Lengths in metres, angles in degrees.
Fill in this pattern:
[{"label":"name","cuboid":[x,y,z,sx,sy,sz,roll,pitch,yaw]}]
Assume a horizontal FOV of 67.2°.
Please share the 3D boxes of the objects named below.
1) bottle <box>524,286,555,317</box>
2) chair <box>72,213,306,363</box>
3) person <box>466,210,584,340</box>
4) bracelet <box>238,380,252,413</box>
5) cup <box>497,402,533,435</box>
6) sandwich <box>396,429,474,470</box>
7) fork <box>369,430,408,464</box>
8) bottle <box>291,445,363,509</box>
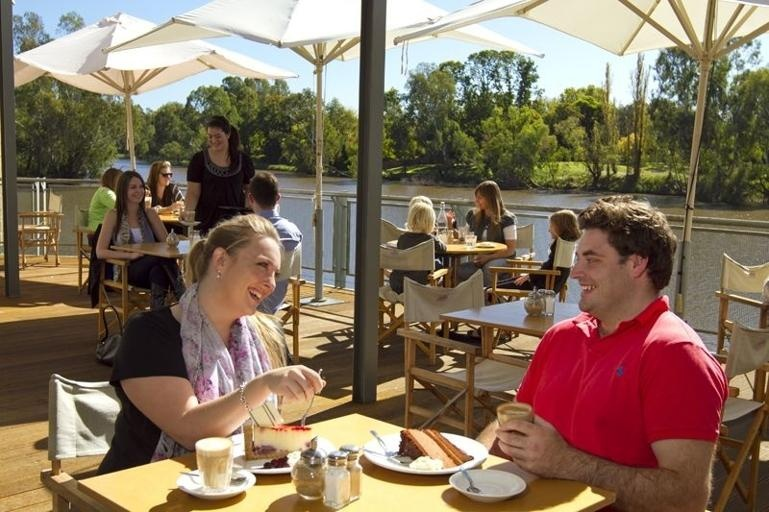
[{"label":"bottle","cuboid":[1.103,0.342,4.155,0.208,0.206,0.152,2,1,-6]},{"label":"chair","cuboid":[-1.405,0.204,3.988,1.408,0.747,0.769,-4,7,-43]},{"label":"person","cuboid":[1.613,-0.016,6.433,0.941,1.619,0.870,2,6,20]},{"label":"bracelet","cuboid":[-0.483,0.490,2.020,0.026,0.105,0.077,-3,5,8]},{"label":"cup","cuboid":[0.426,0.524,1.895,0.088,0.071,0.081,-3,5,0]},{"label":"sandwich","cuboid":[0.158,0.647,1.959,0.135,0.066,0.139,22,15,23]},{"label":"fork","cuboid":[0.012,0.666,1.980,0.044,0.039,0.255,2,9,-17]},{"label":"bottle","cuboid":[-0.169,0.651,1.711,0.202,0.180,0.135,4,4,34]}]
